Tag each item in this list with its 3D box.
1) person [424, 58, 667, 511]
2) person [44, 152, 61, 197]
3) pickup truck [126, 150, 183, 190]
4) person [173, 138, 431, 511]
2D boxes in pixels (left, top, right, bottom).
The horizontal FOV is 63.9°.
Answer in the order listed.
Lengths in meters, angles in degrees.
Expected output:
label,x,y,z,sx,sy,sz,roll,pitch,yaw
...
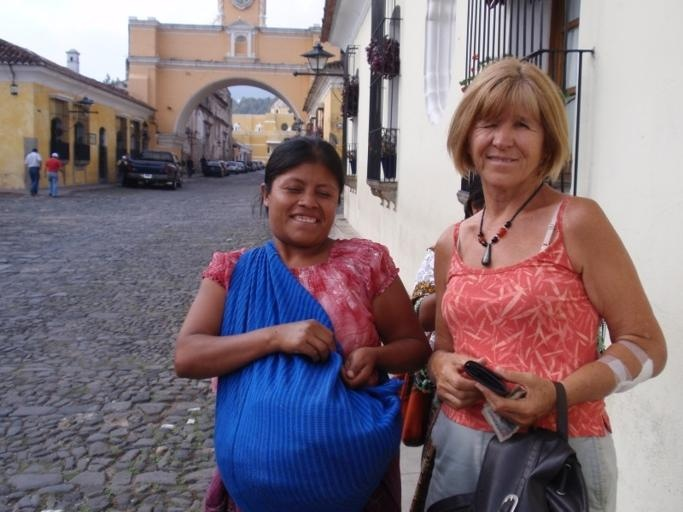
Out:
label,x,y,z,sx,sy,sz,roll,pitch,yaw
person,0.646,0.145,1.759,0.748,1.553,0.468,5,10,17
person,-10.154,-2.910,19.260,0.394,1.384,2.310,-4,12,-29
pickup truck,-8.432,-4.036,25.162,1.347,1.038,2.803,0,11,-2
person,-0.129,0.245,1.891,0.771,1.291,0.504,6,11,23
